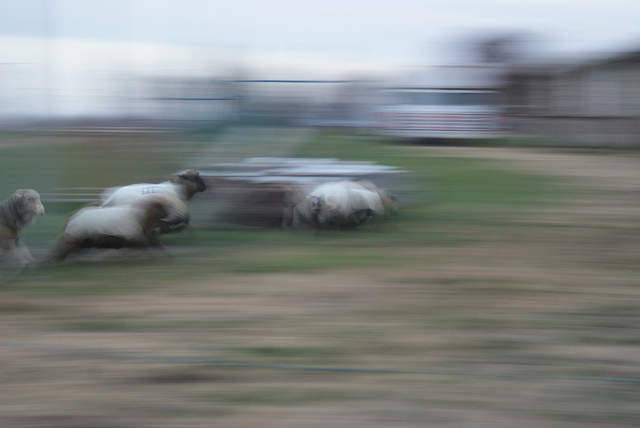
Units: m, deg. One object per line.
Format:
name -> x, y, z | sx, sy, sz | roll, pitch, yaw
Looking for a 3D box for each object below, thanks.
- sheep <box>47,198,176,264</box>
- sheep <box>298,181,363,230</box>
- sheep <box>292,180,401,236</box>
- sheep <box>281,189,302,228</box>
sheep -> -2.240, 0.166, 13.435 | 1.169, 0.721, 0.398 | 2, 17, -5
sheep -> 0.104, -0.121, 14.503 | 0.717, 0.517, 0.308 | 1, 17, -8
sheep -> 0.199, -0.084, 14.574 | 1.534, 0.481, 0.527 | -7, 46, -10
sheep -> -0.378, -0.074, 14.612 | 0.216, 0.461, 0.356 | 18, -31, -30
